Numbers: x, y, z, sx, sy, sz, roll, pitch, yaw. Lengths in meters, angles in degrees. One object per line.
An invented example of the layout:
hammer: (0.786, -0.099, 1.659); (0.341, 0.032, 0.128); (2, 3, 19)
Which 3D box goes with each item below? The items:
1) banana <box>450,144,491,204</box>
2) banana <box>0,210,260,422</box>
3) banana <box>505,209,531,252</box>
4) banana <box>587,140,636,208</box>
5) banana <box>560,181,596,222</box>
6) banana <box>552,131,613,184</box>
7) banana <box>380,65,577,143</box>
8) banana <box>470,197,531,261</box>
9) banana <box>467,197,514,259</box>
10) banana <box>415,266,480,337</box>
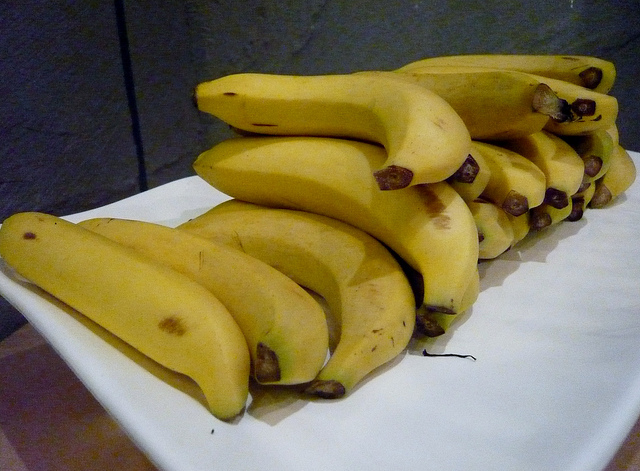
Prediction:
banana: (0.352, -0.145, 1.469); (0.070, 0.103, 0.109); (29, 6, -24)
banana: (-0.427, 0.141, 1.393); (0.708, 0.151, 0.198); (29, 56, 20)
banana: (0.532, -0.018, 1.701); (0.066, 0.117, 0.031); (20, -5, -26)
banana: (0.939, -0.184, 1.997); (0.209, 0.104, 0.164); (-37, 21, -34)
banana: (0.767, -0.101, 1.880); (0.073, 0.131, 0.043); (22, 13, -29)
banana: (0.781, -0.241, 1.826); (0.167, 0.134, 0.093); (40, 7, -6)
banana: (0.303, -0.378, 1.707); (0.710, 0.189, 0.238); (12, 22, 23)
banana: (0.466, -0.039, 1.634); (0.166, 0.181, 0.069); (22, 38, 9)
banana: (0.431, -0.012, 1.622); (0.140, 0.080, 0.143); (25, 54, -12)
banana: (0.313, 0.145, 1.466); (0.181, 0.117, 0.046); (-55, 29, -9)
